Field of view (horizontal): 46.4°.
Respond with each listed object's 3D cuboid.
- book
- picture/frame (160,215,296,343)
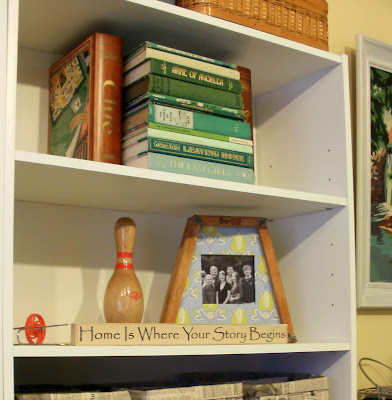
[{"bbox_3d":[-0.084,-0.174,0.957,0.456,0.299,0.224,4,-13,-16],"label":"book"},{"bbox_3d":[0.060,0.174,0.972,0.223,0.238,0.031,8,-14,-21],"label":"picture/frame"}]
